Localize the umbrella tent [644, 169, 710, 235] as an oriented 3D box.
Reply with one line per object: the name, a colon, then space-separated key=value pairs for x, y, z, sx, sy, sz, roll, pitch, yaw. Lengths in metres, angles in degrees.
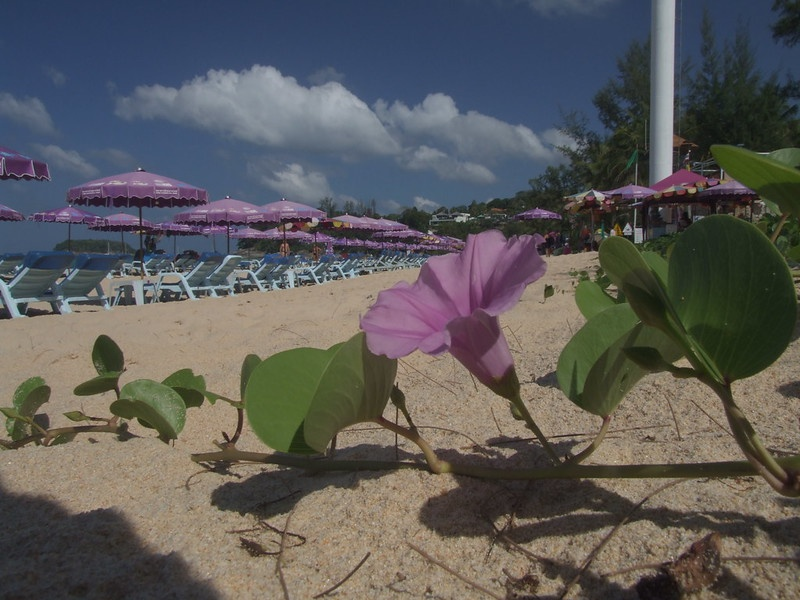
umbrella tent: x=7.601 y=-2.622 z=15.187 sx=1.382 sy=1.894 sz=7.050 roll=1 pitch=11 yaw=24

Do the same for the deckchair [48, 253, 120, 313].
deckchair: x=-4.447 y=-0.254 z=7.587 sx=1.031 sy=0.712 sz=0.727 roll=1 pitch=3 yaw=36
